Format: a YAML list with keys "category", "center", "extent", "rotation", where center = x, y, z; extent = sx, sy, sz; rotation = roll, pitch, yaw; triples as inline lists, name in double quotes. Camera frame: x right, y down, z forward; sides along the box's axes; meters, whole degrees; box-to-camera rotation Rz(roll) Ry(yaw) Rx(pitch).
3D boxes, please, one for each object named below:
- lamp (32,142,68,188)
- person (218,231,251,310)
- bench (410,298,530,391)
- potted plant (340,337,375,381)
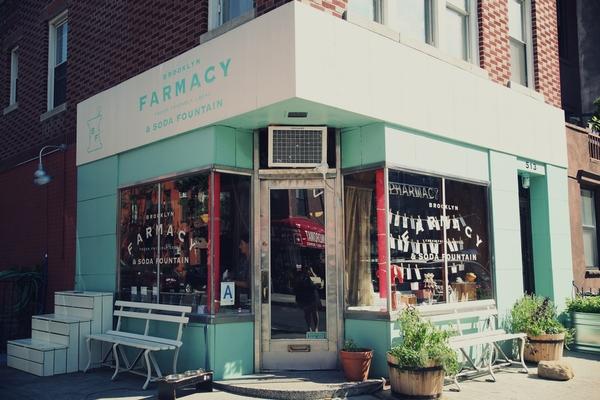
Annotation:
- category: "lamp"
  center: [-6.779, -0.924, 16.071]
  extent: [0.755, 1.154, 1.463]
  rotation: [-3, 6, -23]
- category: "person"
  center: [-1.377, 1.548, 12.741]
  extent: [0.629, 1.582, 0.331]
  rotation: [-1, 5, -7]
- category: "bench"
  center: [3.731, 3.111, 12.785]
  extent: [2.545, 1.676, 1.102]
  rotation: [0, -9, -30]
- category: "potted plant"
  center: [1.157, 3.397, 12.343]
  extent: [0.701, 0.592, 0.718]
  rotation: [-5, -8, 44]
